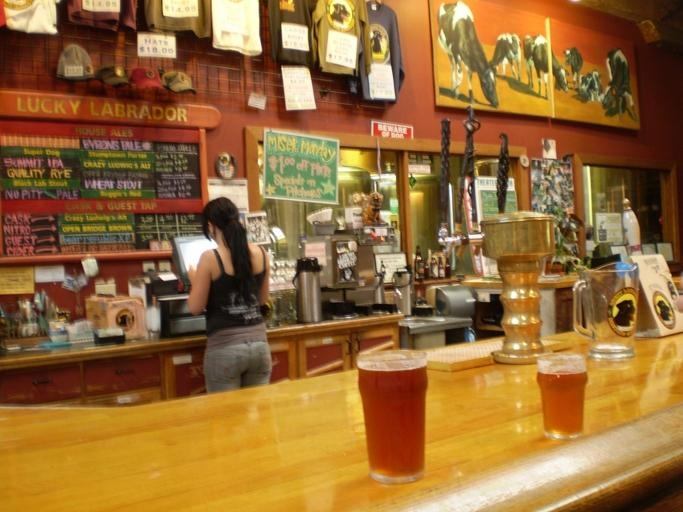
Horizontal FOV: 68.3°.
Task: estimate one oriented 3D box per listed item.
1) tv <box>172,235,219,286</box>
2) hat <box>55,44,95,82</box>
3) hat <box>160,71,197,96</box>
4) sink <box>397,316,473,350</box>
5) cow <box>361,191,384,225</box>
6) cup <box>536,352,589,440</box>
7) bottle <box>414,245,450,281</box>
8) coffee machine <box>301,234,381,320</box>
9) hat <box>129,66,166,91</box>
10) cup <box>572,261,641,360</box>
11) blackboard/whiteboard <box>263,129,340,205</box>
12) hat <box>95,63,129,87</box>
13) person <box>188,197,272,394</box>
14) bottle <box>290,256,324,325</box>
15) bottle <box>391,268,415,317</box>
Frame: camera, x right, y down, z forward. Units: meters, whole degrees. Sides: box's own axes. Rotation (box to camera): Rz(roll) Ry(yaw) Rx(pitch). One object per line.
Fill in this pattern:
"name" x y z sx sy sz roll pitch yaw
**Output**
"tv" -0.937 0.035 3.202 0.278 0.279 0.152 3 -25 -36
"hat" -1.908 -1.364 3.569 0.259 0.285 0.120 -2 16 -14
"hat" -1.240 -1.329 3.874 0.179 0.173 0.306 -1 4 36
"sink" 0.738 0.642 4.234 0.707 0.239 0.334 -4 3 -28
"cow" 0.276 -0.442 4.754 0.236 0.312 0.234 -3 3 -12
"cup" 0.447 0.264 0.992 0.156 0.153 0.078 -5 4 -45
"bottle" 0.887 0.089 5.197 0.273 0.300 0.546 0 4 43
"coffee machine" -0.030 0.168 3.907 0.303 0.621 0.612 -3 -2 37
"hat" -1.439 -1.301 3.692 0.207 0.171 0.069 3 -5 -25
"cup" 0.809 0.167 1.535 0.267 0.283 0.123 -4 3 -31
"blackboard/whiteboard" -0.387 -0.824 4.542 0.664 0.526 0.027 -2 3 -37
"hat" -1.657 -1.304 3.629 0.217 0.151 0.108 -4 3 -24
"person" -0.656 0.227 2.977 0.482 1.143 0.340 -3 3 -14
"bottle" -0.244 0.246 3.632 0.194 0.456 0.251 -3 3 -7
"bottle" 0.557 0.327 4.530 0.173 0.406 0.254 -2 3 8
